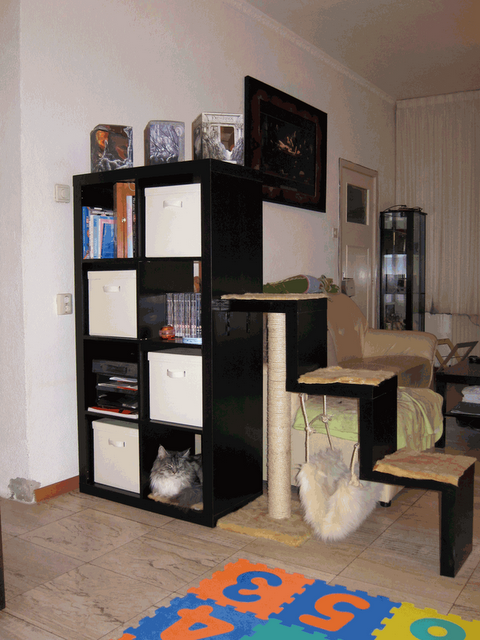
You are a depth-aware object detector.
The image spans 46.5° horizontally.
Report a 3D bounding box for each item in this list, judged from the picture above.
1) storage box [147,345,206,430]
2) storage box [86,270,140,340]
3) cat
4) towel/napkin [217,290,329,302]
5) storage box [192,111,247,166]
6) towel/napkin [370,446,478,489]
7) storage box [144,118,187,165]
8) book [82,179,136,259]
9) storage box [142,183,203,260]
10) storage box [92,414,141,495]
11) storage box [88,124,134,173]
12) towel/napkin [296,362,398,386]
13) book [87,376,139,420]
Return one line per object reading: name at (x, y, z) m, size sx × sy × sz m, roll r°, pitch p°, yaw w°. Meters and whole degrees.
storage box at (-0.267, 0.265, 2.402) m, size 0.349 × 0.349 × 0.260 m, roll -2°, pitch -3°, yaw 36°
storage box at (-0.653, -0.060, 2.551) m, size 0.234 × 0.293 × 0.296 m, roll -2°, pitch 0°, yaw 35°
cat at (-0.273, 0.653, 2.377) m, size 0.219 × 0.220 × 0.196 m, roll -1°, pitch 1°, yaw -7°
towel/napkin at (0.133, -0.087, 2.174) m, size 0.413 × 0.030 × 0.244 m, roll -1°, pitch 1°, yaw 1°
storage box at (-0.084, -0.761, 2.493) m, size 0.250 × 0.247 × 0.242 m, roll -1°, pitch 3°, yaw -23°
towel/napkin at (0.633, 0.502, 1.931) m, size 0.278 × 0.038 × 0.308 m, roll 0°, pitch 1°, yaw 33°
storage box at (-0.319, -0.759, 2.542) m, size 0.174 × 0.192 × 0.211 m, roll -2°, pitch -10°, yaw -11°
book at (-0.585, -0.444, 2.509) m, size 0.341 × 0.339 × 0.245 m, roll 3°, pitch 5°, yaw 28°
storage box at (-0.233, -0.391, 2.356) m, size 0.307 × 0.292 × 0.197 m, roll 6°, pitch 8°, yaw 35°
storage box at (-0.506, 0.613, 2.579) m, size 0.322 × 0.310 × 0.189 m, roll -1°, pitch 0°, yaw 29°
storage box at (-0.579, -0.758, 2.656) m, size 0.177 × 0.240 × 0.178 m, roll -4°, pitch -17°, yaw -7°
towel/napkin at (0.382, 0.212, 2.064) m, size 0.306 × 0.043 × 0.275 m, roll 0°, pitch 1°, yaw 28°
book at (-0.567, 0.356, 2.548) m, size 0.164 × 0.106 × 0.218 m, roll 2°, pitch -3°, yaw -41°
